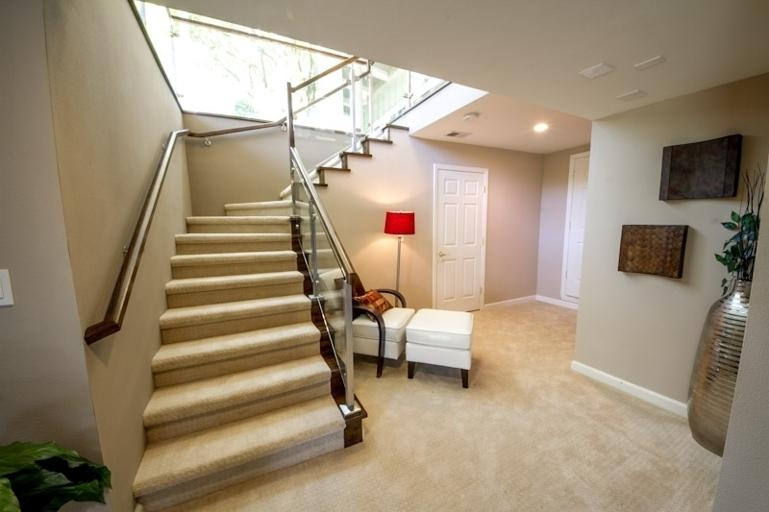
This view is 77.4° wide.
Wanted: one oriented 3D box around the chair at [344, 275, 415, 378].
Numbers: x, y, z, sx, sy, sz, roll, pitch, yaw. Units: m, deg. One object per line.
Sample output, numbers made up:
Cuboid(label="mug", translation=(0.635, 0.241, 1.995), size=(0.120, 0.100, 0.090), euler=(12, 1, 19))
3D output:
Cuboid(label="chair", translation=(0.048, 0.693, 5.100), size=(0.907, 1.029, 0.786), euler=(2, 7, 16))

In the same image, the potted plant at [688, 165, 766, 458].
Cuboid(label="potted plant", translation=(2.633, 0.440, 3.745), size=(0.323, 2.193, 0.479), euler=(6, 10, 37))

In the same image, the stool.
Cuboid(label="stool", translation=(0.567, 0.800, 4.676), size=(0.648, 0.547, 0.635), euler=(4, 15, 21))
